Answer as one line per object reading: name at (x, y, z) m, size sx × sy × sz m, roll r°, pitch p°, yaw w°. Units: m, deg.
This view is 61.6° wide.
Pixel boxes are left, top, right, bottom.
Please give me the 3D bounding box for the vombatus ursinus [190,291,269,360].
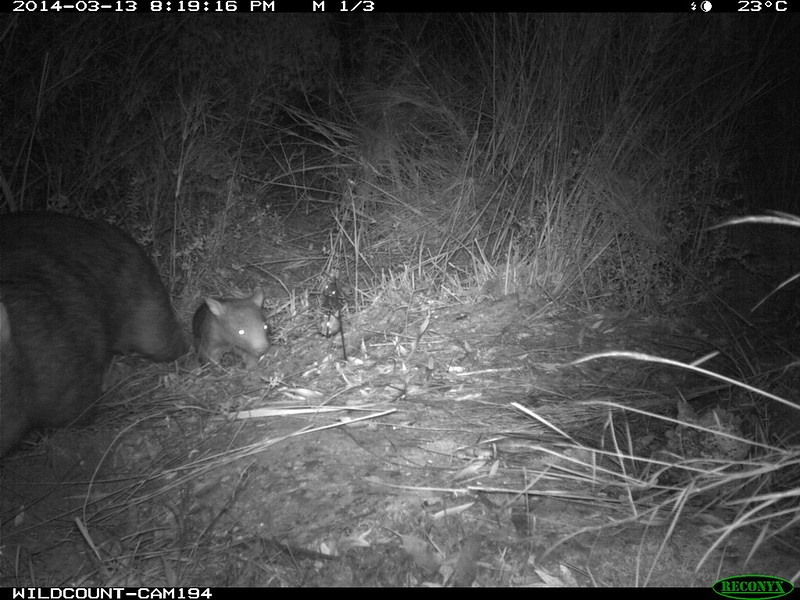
vombatus ursinus at (-1.027, 0.139, 4.012) m, size 0.284 × 0.366 × 0.568 m, roll -14°, pitch 25°, yaw -38°
